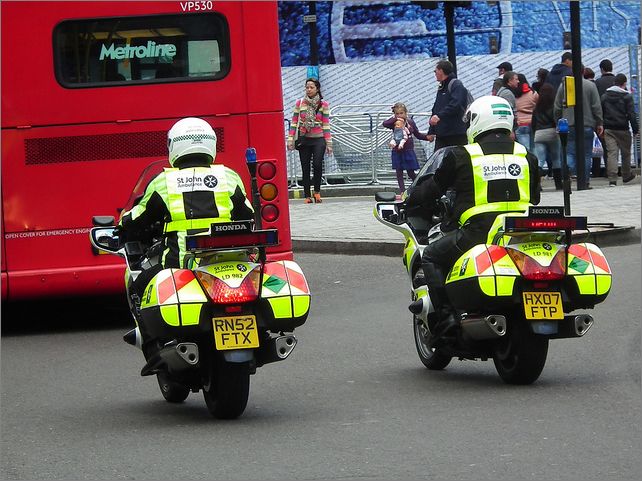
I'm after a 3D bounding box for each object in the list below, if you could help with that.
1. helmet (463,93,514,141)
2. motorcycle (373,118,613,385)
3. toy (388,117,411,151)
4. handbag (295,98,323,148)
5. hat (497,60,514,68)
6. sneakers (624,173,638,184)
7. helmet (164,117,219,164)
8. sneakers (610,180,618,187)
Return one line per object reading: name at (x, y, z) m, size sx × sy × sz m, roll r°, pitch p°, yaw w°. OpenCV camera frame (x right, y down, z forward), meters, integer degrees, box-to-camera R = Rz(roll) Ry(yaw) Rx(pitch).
helmet at (1.454, -1.054, 8.460) m, size 0.340 × 0.383 × 0.422 m, roll -2°, pitch 17°, yaw -11°
motorcycle at (1.376, 0.171, 8.135) m, size 0.958 × 2.056 × 1.685 m, roll -8°, pitch 10°, yaw -32°
toy at (1.547, -2.177, 20.221) m, size 0.450 × 0.544 × 0.419 m, roll -17°, pitch 23°, yaw -27°
handbag at (-0.292, -2.448, 20.182) m, size 0.785 × 0.981 × 0.316 m, roll 3°, pitch 10°, yaw 34°
hat at (3.847, -3.635, 20.748) m, size 0.233 × 0.160 × 0.313 m, roll -15°, pitch 37°, yaw -23°
sneakers at (6.687, -1.322, 21.363) m, size 0.199 × 0.239 × 0.605 m, roll 4°, pitch 19°, yaw 29°
helmet at (-1.001, -0.776, 7.660) m, size 0.311 × 0.316 × 0.387 m, roll 0°, pitch 11°, yaw -11°
sneakers at (6.036, -1.181, 20.487) m, size 0.137 × 0.172 × 0.408 m, roll -1°, pitch 4°, yaw 18°
